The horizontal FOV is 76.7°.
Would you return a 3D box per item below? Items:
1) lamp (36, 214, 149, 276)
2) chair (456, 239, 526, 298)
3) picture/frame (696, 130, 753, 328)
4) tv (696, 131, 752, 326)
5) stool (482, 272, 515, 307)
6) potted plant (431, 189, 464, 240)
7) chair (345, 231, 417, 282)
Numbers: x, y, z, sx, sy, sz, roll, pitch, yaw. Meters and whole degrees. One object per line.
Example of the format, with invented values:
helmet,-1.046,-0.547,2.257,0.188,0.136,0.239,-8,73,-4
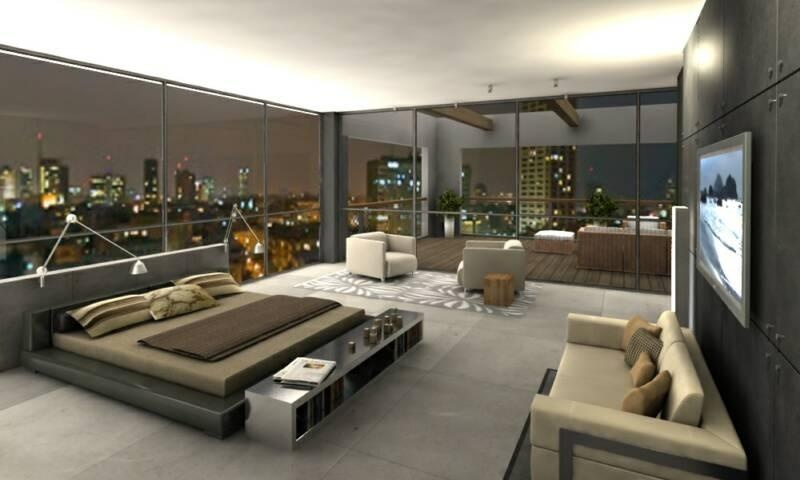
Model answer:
lamp,-4.364,0.200,7.253,0.276,1.042,1.603,-12,-9,26
chair,1.740,0.462,9.369,1.057,0.813,0.987,2,4,17
picture/frame,3.328,-0.225,5.282,0.076,1.617,2.247,-1,6,22
tv,3.315,-0.211,5.259,0.070,1.599,2.189,-1,7,22
stool,1.675,0.831,8.575,0.479,0.486,0.481,0,3,12
potted plant,1.157,-0.569,11.053,0.864,1.286,0.856,2,6,21
chair,-0.349,0.307,10.498,1.115,0.851,1.160,-7,9,-43
